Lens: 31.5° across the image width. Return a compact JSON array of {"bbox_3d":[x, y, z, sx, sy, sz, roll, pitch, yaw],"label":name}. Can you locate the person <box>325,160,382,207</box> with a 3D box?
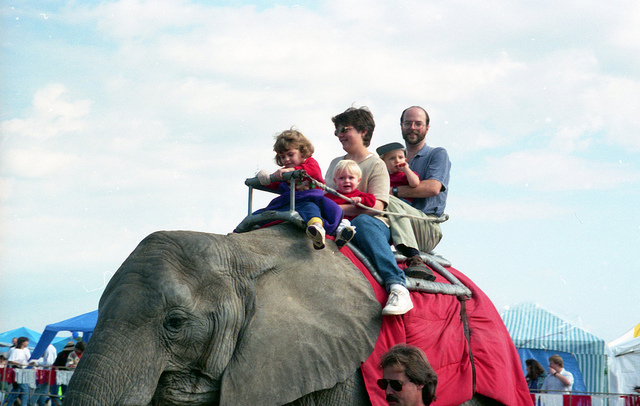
[{"bbox_3d":[0.278,-0.241,15.265,1.020,0.687,0.623,2,0,14],"label":"person"}]

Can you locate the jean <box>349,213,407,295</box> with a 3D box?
[{"bbox_3d":[0.784,0.605,14.981,0.314,0.952,0.945,-43,8,14],"label":"jean"}]
